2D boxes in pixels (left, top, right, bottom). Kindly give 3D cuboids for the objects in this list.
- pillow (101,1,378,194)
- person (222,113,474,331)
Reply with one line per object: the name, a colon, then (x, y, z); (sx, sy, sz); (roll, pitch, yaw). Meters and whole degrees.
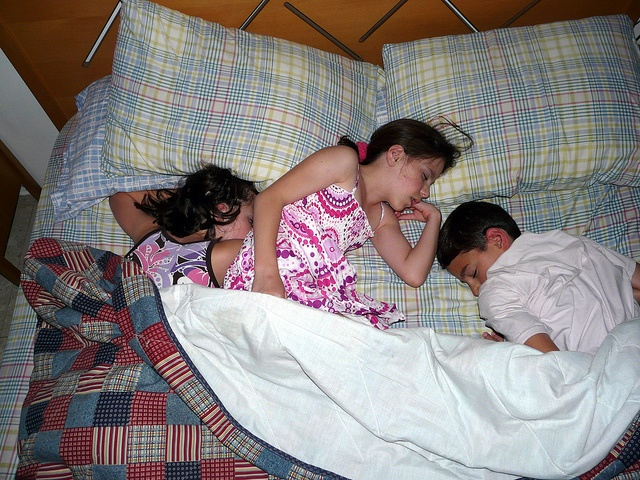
pillow: (-0.328, -0.566, 2.135); (0.903, 0.664, 0.278); (7, -9, -4)
person: (0.111, -0.082, 2.096); (0.932, 0.831, 0.333); (2, -3, -27)
